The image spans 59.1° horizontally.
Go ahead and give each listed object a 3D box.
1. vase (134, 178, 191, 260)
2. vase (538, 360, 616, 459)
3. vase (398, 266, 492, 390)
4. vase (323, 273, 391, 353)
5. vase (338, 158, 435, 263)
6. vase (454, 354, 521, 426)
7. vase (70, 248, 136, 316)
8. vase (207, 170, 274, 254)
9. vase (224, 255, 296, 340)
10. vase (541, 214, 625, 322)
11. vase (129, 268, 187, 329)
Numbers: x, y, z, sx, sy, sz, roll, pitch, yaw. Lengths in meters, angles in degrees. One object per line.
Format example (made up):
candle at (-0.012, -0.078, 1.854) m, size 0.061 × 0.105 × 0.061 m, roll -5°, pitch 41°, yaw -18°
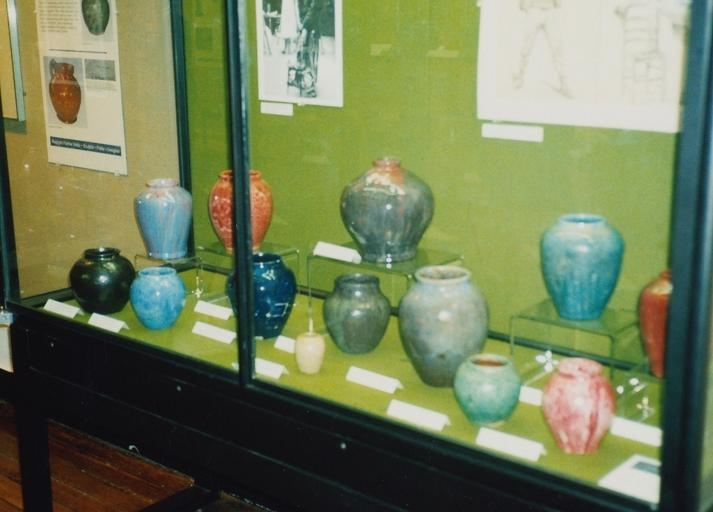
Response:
vase at (-0.652, -0.128, 2.123) m, size 0.261 × 0.258 × 0.269 m, roll 1°, pitch 16°, yaw -9°
vase at (0.474, 0.314, 1.340) m, size 0.170 × 0.210 × 0.163 m, roll -4°, pitch 1°, yaw 12°
vase at (0.240, 0.155, 1.643) m, size 0.247 × 0.311 × 0.256 m, roll 3°, pitch 10°, yaw 32°
vase at (-0.001, 0.160, 1.712) m, size 0.175 × 0.205 × 0.176 m, roll -4°, pitch 13°, yaw -18°
vase at (0.083, -0.126, 1.646) m, size 0.230 × 0.258 × 0.236 m, roll -2°, pitch 17°, yaw 5°
vase at (0.309, 0.316, 1.459) m, size 0.139 × 0.146 × 0.148 m, roll 6°, pitch 15°, yaw 36°
vase at (-0.806, 0.070, 2.094) m, size 0.195 × 0.230 × 0.202 m, roll 3°, pitch 20°, yaw 0°
vase at (-0.333, -0.131, 1.791) m, size 0.184 × 0.224 × 0.194 m, roll 10°, pitch 19°, yaw 19°
vase at (-0.273, 0.119, 1.788) m, size 0.178 × 0.214 × 0.187 m, roll 2°, pitch 2°, yaw 12°
vase at (0.518, 0.024, 1.460) m, size 0.191 × 0.230 × 0.198 m, roll 3°, pitch 14°, yaw 26°
vase at (-0.639, 0.135, 2.025) m, size 0.178 × 0.194 × 0.186 m, roll 3°, pitch 14°, yaw 1°
